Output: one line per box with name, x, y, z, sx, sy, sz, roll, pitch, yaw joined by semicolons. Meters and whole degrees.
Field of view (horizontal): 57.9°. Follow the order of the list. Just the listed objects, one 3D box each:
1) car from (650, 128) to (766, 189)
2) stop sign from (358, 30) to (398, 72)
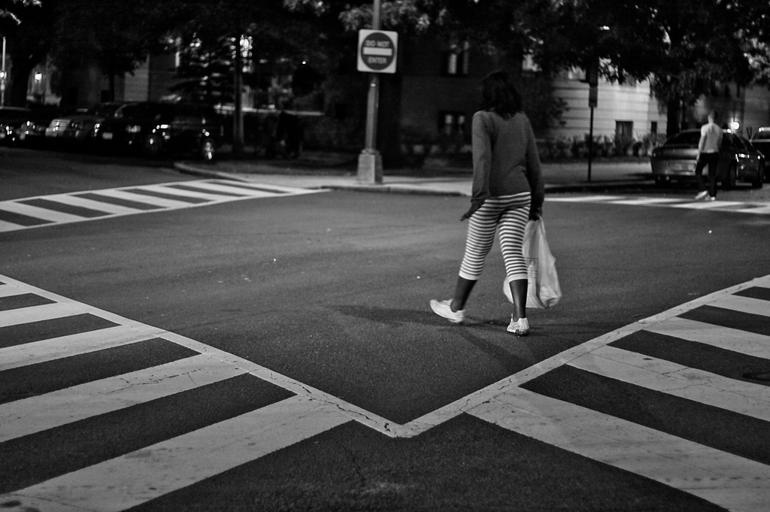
car;11.744;-3.389;24.656;1.996;1.679;4.890;6;13;41
stop sign;-0.233;-6.241;21.017;1.121;1.300;0.194;1;8;-5
